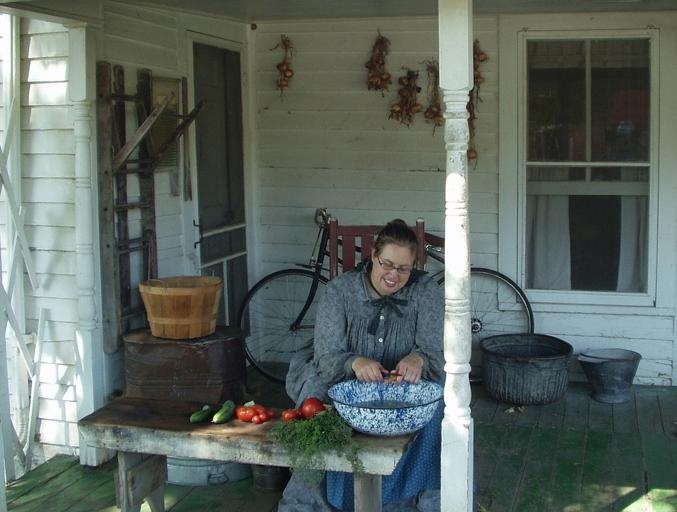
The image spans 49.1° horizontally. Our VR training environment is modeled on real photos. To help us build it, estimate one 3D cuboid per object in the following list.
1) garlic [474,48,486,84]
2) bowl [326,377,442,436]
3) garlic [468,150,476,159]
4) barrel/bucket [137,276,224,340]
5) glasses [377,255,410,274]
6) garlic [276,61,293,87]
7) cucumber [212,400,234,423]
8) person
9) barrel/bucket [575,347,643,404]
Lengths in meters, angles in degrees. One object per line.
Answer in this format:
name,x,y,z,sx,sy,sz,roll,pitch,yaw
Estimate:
garlic,1.174,-1.589,6.141,0.135,0.289,0.067,-11,17,-33
bowl,0.247,0.775,3.766,0.596,0.196,0.385,-1,15,2
garlic,1.130,-0.856,6.219,0.073,0.089,0.131,3,15,19
barrel/bucket,-1.064,0.308,5.027,0.515,0.432,0.613,9,11,36
glasses,0.308,0.050,4.119,0.184,0.108,0.056,0,14,5
garlic,-0.474,-1.603,6.514,0.153,0.207,0.063,37,21,16
cucumber,-0.613,0.828,3.954,0.060,0.055,0.144,10,17,19
person,0.141,0.664,4.263,0.880,1.698,0.942,0,11,-6
barrel/bucket,2.183,0.926,5.946,0.440,0.445,0.421,0,9,0
